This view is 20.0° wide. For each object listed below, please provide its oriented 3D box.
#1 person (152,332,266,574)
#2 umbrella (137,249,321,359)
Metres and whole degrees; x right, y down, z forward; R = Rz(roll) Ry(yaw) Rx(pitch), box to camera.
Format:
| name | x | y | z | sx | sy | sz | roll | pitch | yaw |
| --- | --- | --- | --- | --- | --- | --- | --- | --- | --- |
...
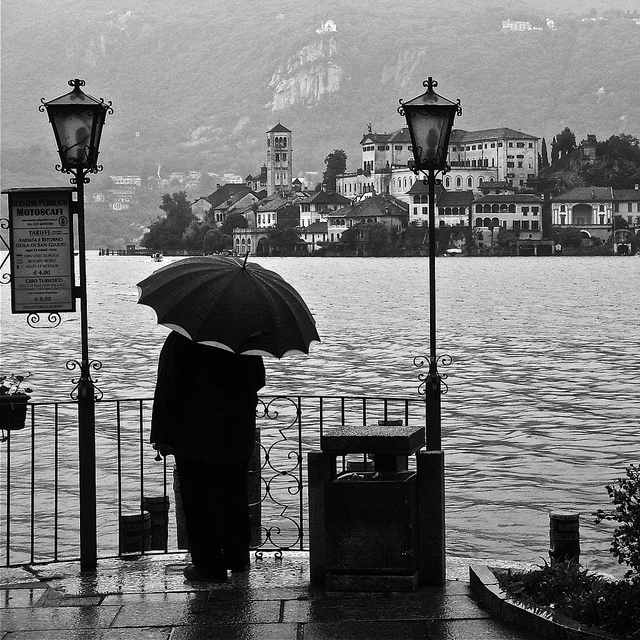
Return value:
| name | x | y | z | sx | sy | sz | roll | pitch | yaw |
| --- | --- | --- | --- | --- | --- | --- | --- | --- | --- |
| person | -0.644 | 0.778 | 10.683 | 0.673 | 1.416 | 0.262 | -3 | 2 | -7 |
| umbrella | -0.501 | -0.157 | 10.922 | 1.109 | 0.345 | 1.061 | -4 | 23 | -42 |
